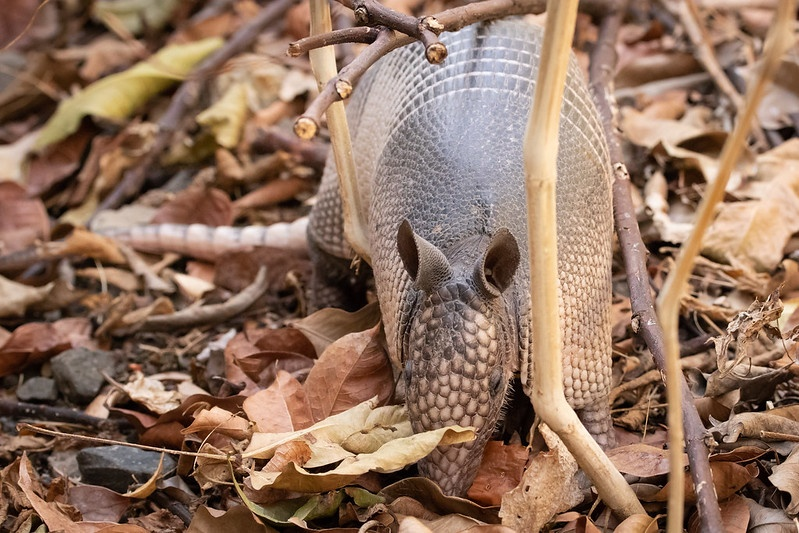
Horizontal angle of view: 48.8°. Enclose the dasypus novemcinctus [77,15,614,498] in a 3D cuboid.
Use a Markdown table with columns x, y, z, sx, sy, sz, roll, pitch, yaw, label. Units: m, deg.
| x | y | z | sx | sy | sz | roll | pitch | yaw | label |
| --- | --- | --- | --- | --- | --- | --- | --- | --- | --- |
| 0.282 | -0.095 | 3.216 | 1.188 | 1.010 | 1.537 | -23 | 52 | -12 | dasypus novemcinctus |
